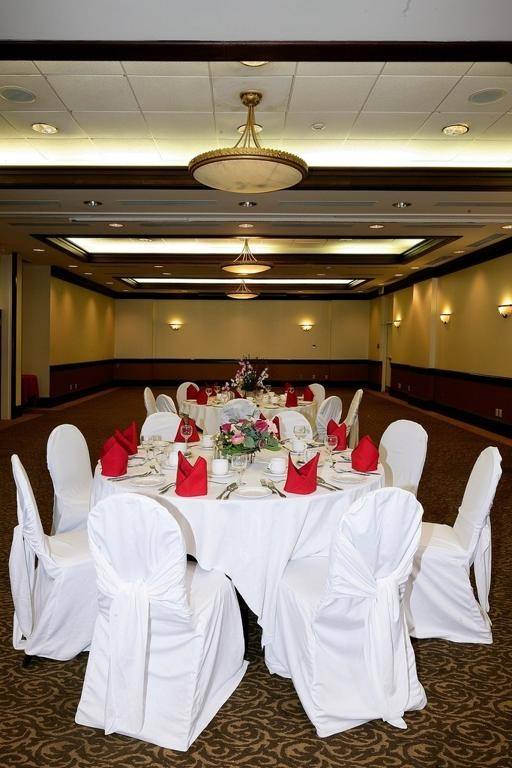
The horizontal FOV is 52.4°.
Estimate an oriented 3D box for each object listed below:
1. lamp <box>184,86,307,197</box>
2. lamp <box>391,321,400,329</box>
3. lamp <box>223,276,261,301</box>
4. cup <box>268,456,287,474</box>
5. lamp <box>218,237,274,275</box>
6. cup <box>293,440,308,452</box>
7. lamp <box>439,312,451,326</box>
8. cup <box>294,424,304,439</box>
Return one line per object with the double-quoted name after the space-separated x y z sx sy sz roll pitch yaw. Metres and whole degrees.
-0.048 -1.870 3.907 0.901 0.593 0.919 10 11 30 "lamp"
3.975 -1.689 14.654 0.157 0.175 0.175 1 0 -4 "lamp"
-0.468 -2.708 14.761 0.906 0.684 0.917 0 2 -30 "lamp"
0.114 0.424 2.787 0.094 0.074 0.066 -2 3 2 "cup"
-0.173 -2.206 9.612 0.798 0.789 0.809 8 10 39 "lamp"
0.276 0.379 3.239 0.077 0.064 0.059 5 -7 -8 "cup"
4.149 -1.426 11.342 0.210 0.259 0.231 0 0 16 "lamp"
0.287 0.309 3.411 0.074 0.136 0.076 -1 7 0 "cup"
